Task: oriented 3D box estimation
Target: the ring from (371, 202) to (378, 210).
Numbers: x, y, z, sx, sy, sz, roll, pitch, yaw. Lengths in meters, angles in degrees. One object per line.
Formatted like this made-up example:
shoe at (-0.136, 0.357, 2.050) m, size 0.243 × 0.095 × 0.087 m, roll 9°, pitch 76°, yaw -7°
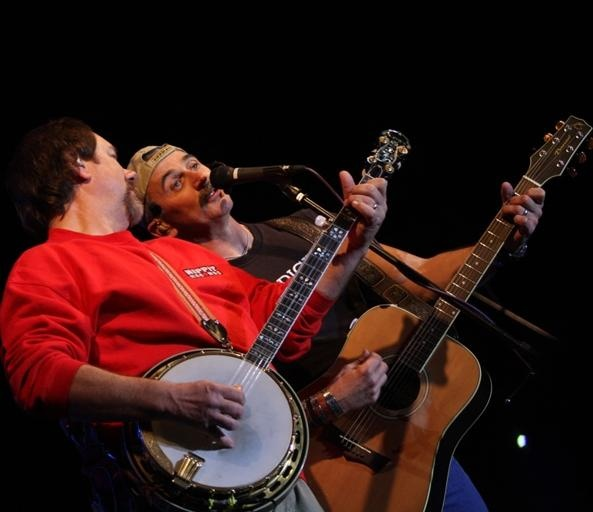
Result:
ring at (0.405, -0.257, 3.216) m, size 0.034 × 0.021 × 0.031 m, roll -6°, pitch 11°, yaw -22°
